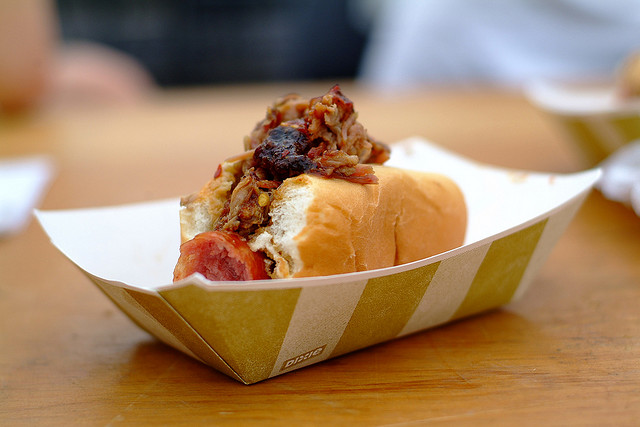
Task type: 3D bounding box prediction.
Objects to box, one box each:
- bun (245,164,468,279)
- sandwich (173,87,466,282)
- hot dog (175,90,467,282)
[{"bbox_3d":[0.097,0.020,1.255,0.415,0.154,0.202,-8,19,-34],"label":"bun"},{"bbox_3d":[0.027,-0.045,1.354,0.385,0.381,0.740,3,9,43],"label":"sandwich"},{"bbox_3d":[0.043,-0.092,1.248,0.587,0.283,0.315,-14,26,-39],"label":"hot dog"}]
